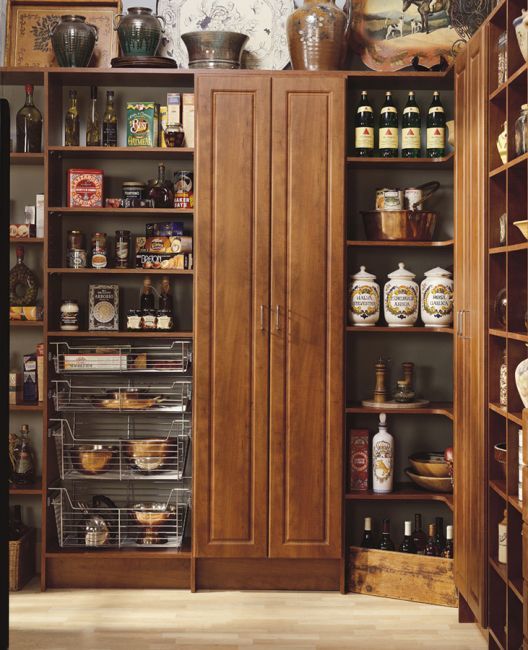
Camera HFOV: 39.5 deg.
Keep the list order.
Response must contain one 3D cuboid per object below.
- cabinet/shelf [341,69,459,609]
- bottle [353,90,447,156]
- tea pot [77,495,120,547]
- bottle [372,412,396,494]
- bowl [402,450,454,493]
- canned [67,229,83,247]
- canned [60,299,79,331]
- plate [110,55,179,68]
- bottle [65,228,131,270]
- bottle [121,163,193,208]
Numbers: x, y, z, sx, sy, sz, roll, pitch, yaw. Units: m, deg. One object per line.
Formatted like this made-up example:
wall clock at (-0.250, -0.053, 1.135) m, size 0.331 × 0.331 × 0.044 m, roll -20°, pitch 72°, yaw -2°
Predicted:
cabinet/shelf at (0.591, 0.065, 3.204) m, size 0.508 × 2.221 × 0.289 m, roll 0°, pitch 2°, yaw 11°
bottle at (0.601, -0.890, 3.284) m, size 0.426 × 0.356 × 0.277 m, roll -2°, pitch 2°, yaw 13°
tea pot at (-0.743, 0.874, 3.207) m, size 0.160 × 0.147 × 0.101 m, roll 0°, pitch -3°, yaw -1°
bottle at (0.520, 0.546, 3.247) m, size 0.103 × 0.333 × 0.305 m, roll -2°, pitch 2°, yaw 9°
bowl at (0.714, 0.623, 3.147) m, size 0.190 × 0.090 × 0.181 m, roll -1°, pitch -9°, yaw 0°
canned at (-0.826, -0.385, 3.213) m, size 0.071 × 0.073 × 0.070 m, roll 0°, pitch 0°, yaw 24°
canned at (-0.845, -0.042, 3.181) m, size 0.077 × 0.093 × 0.133 m, roll -3°, pitch 2°, yaw -15°
plate at (-0.515, -1.113, 3.119) m, size 0.264 × 0.030 × 0.055 m, roll -2°, pitch 2°, yaw -5°
bottle at (-0.741, -0.339, 3.259) m, size 0.230 × 0.125 × 0.071 m, roll 0°, pitch -2°, yaw -5°
bottle at (-0.465, -0.597, 3.210) m, size 0.323 × 0.204 × 0.192 m, roll -2°, pitch 2°, yaw -3°
